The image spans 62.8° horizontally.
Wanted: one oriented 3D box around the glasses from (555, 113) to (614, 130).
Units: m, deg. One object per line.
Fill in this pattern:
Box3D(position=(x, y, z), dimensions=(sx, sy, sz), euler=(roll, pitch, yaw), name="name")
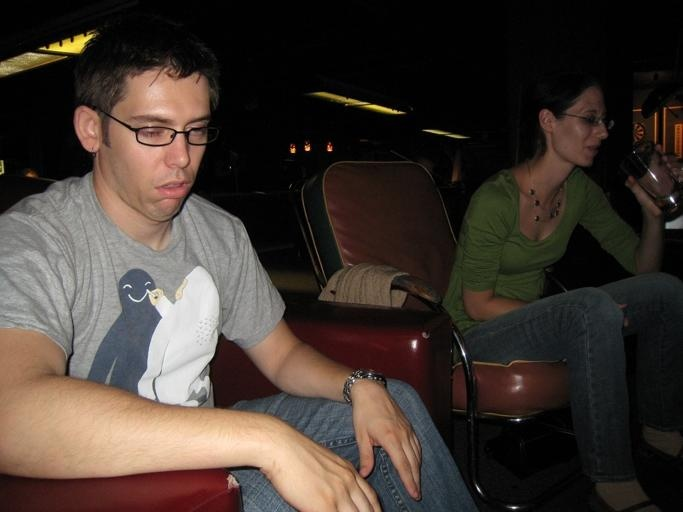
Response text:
Box3D(position=(0.908, -0.501, 2.072), dimensions=(0.104, 0.030, 0.102), euler=(5, -2, 42), name="glasses")
